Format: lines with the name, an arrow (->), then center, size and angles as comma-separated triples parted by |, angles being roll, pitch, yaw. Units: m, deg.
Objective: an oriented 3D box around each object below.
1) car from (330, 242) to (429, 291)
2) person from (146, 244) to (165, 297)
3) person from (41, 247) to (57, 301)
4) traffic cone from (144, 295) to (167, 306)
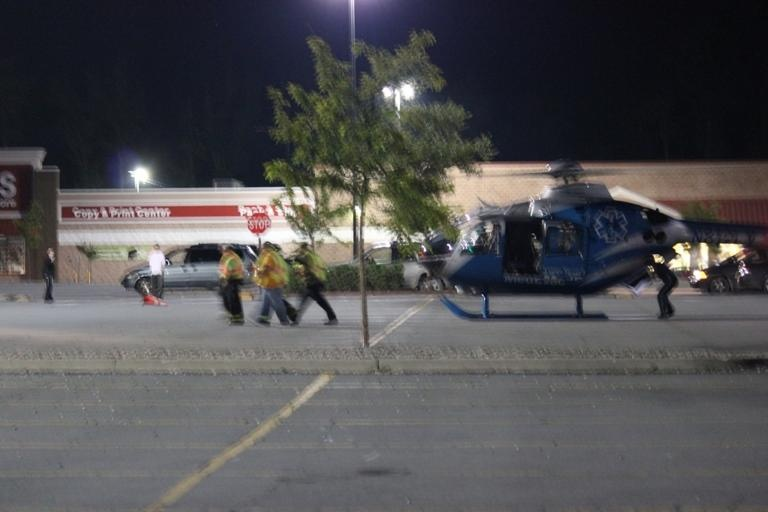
car -> -0.210, 0.430, 43.142 | 2.763, 1.402, 1.604 | 3, 0, -3
person -> -7.105, 0.547, 39.836 | 0.438, 1.540, 0.863 | -4, 2, -1
person -> -10.772, 0.651, 41.057 | 0.386, 1.571, 2.010 | -4, 2, -15
traffic cone -> -6.995, 1.456, 38.823 | 0.531, 0.195, 0.351 | 25, 9, 0
